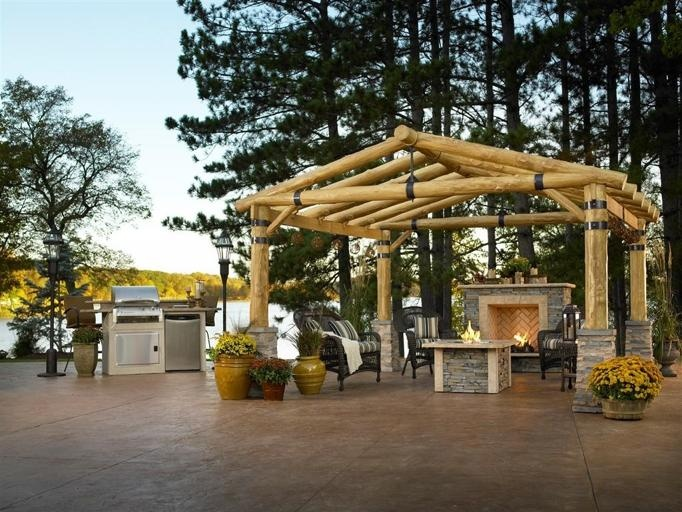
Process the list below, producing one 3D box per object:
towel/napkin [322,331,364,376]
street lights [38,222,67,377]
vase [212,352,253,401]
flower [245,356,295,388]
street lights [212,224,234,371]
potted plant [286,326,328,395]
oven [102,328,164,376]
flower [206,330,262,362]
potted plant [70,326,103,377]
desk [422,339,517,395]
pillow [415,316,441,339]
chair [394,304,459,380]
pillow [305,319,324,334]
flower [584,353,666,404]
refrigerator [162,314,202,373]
[{"bbox_3d":[0.004,1.609,11.456,0.549,0.848,0.569,5,-2,-36],"label":"towel/napkin"},{"bbox_3d":[-6.076,1.045,13.842,0.599,3.016,0.636,0,-6,-9],"label":"street lights"},{"bbox_3d":[-1.720,1.854,10.319,0.470,0.740,0.488,2,1,34],"label":"vase"},{"bbox_3d":[-1.129,1.767,10.105,0.457,0.301,0.466,0,0,36],"label":"flower"},{"bbox_3d":[-2.604,0.909,14.545,0.503,2.653,0.527,0,0,-20],"label":"street lights"},{"bbox_3d":[-0.546,1.744,10.728,0.525,0.998,0.264,-1,1,-6],"label":"potted plant"},{"bbox_3d":[-4.248,1.963,13.491,1.045,1.013,0.900,0,0,-33],"label":"oven"},{"bbox_3d":[-1.661,1.406,10.425,0.560,0.491,0.477,1,-2,4],"label":"flower"},{"bbox_3d":[-5.199,1.964,13.396,0.523,0.660,0.631,-1,0,-24],"label":"potted plant"},{"bbox_3d":[2.100,1.836,10.939,1.428,0.846,0.919,-1,0,5],"label":"desk"},{"bbox_3d":[1.731,1.463,13.335,0.405,0.370,0.144,3,-10,-22],"label":"pillow"},{"bbox_3d":[1.495,1.650,13.424,1.105,2.041,1.068,2,0,43],"label":"chair"},{"bbox_3d":[-0.469,1.248,11.268,0.206,0.080,0.297,18,-12,45],"label":"pillow"},{"bbox_3d":[3.630,1.581,8.574,0.592,0.455,0.668,-1,-3,2],"label":"flower"},{"bbox_3d":[-3.387,1.902,14.305,0.922,1.552,1.035,0,-1,-16],"label":"refrigerator"}]
